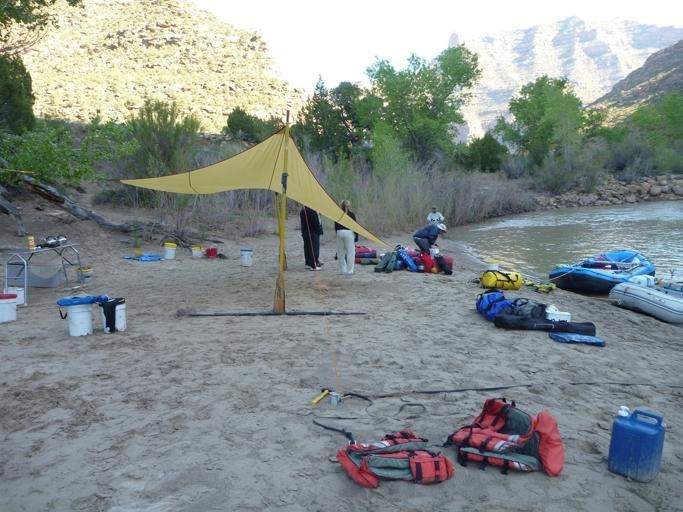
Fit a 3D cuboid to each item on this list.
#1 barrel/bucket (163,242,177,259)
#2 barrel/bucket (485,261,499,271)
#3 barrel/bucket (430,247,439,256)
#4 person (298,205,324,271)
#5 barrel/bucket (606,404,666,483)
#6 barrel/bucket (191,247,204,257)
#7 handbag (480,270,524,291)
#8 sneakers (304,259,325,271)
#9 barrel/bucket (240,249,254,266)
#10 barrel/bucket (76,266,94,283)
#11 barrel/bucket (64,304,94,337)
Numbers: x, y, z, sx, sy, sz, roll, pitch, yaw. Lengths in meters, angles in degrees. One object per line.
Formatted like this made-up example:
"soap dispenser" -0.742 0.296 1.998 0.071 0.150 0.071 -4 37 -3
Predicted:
"barrel/bucket" -3.895 -0.120 13.478 0.401 0.356 0.364 1 -4 -10
"barrel/bucket" 3.522 0.231 13.705 0.272 0.227 0.235 2 -1 29
"barrel/bucket" 2.147 -0.108 13.398 0.241 0.203 0.169 6 -1 23
"person" -0.634 -0.394 13.152 0.428 1.397 0.959 -3 2 -3
"barrel/bucket" 2.953 1.887 5.890 0.534 0.720 0.255 -2 2 15
"barrel/bucket" -3.355 -0.082 13.788 0.313 0.209 0.296 0 3 0
"handbag" 3.196 0.496 11.695 0.763 0.316 0.375 0 -13 -9
"sneakers" -0.602 0.211 13.146 0.302 0.265 0.688 0 -2 -13
"barrel/bucket" -1.978 0.037 13.058 0.378 0.437 0.354 1 3 0
"barrel/bucket" -4.768 0.348 10.904 0.346 0.248 0.320 1 -2 0
"barrel/bucket" -3.553 0.896 8.031 0.489 0.406 0.402 1 2 5
